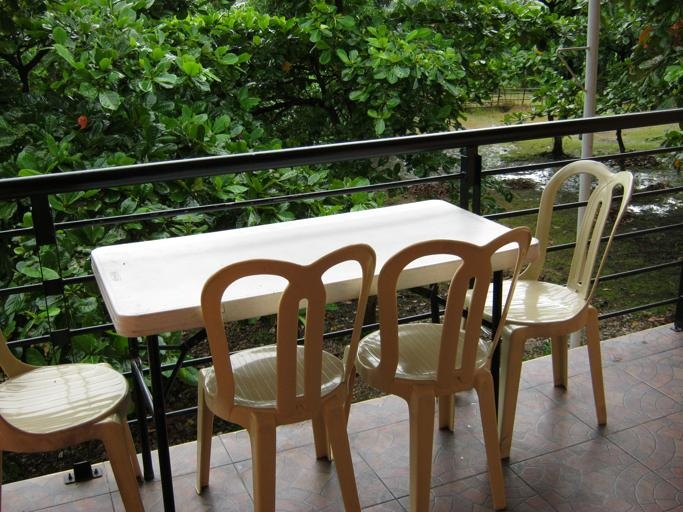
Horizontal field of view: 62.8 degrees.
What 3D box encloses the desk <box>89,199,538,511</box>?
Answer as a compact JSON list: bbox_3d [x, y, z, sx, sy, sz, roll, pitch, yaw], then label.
[{"bbox_3d":[-0.009,0.471,2.328,1.647,0.819,0.870,-13,2,-23],"label":"desk"}]
